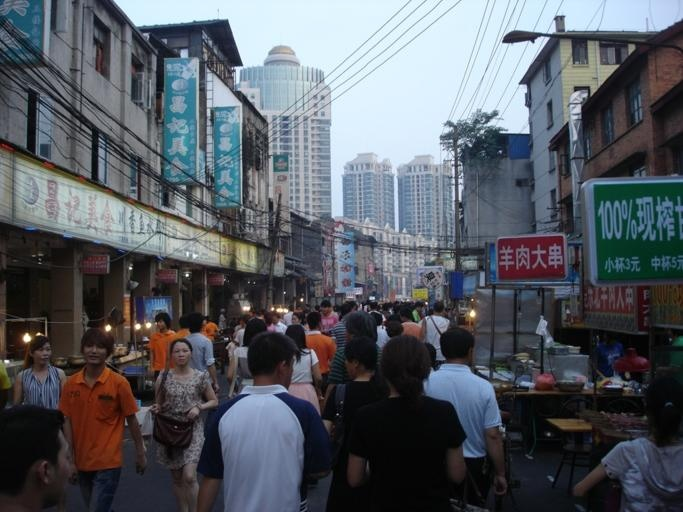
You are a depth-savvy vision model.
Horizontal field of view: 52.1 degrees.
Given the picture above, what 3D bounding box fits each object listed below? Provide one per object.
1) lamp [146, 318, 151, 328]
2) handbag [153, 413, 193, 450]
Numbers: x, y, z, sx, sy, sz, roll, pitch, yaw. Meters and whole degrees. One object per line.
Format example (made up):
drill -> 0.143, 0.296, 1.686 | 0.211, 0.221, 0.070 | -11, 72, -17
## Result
lamp -> -4.902, 1.671, 17.642 | 0.169, 0.188, 0.314 | 12, 7, -21
handbag -> -1.856, 1.921, 7.681 | 0.314, 0.307, 0.145 | 9, -24, -1
